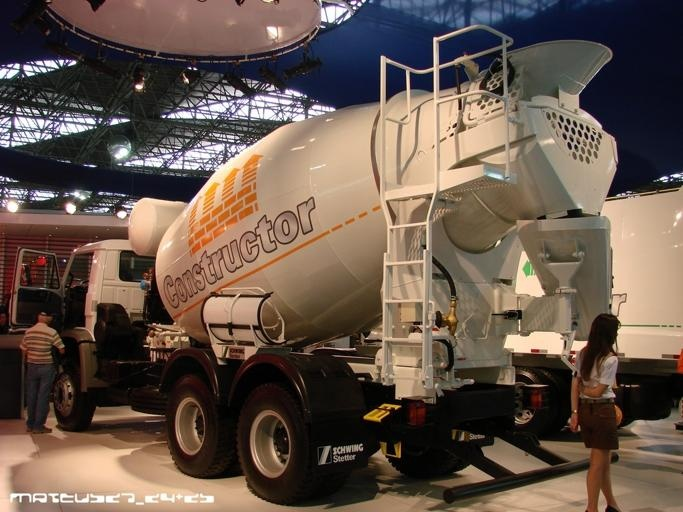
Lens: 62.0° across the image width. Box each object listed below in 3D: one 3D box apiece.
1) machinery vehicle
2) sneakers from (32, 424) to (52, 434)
[{"bbox_3d":[-0.718,0.465,10.817,4.408,6.218,11.696,6,-6,-41],"label":"machinery vehicle"},{"bbox_3d":[-5.403,3.143,10.326,0.350,0.174,0.122,0,2,-35],"label":"sneakers"}]
